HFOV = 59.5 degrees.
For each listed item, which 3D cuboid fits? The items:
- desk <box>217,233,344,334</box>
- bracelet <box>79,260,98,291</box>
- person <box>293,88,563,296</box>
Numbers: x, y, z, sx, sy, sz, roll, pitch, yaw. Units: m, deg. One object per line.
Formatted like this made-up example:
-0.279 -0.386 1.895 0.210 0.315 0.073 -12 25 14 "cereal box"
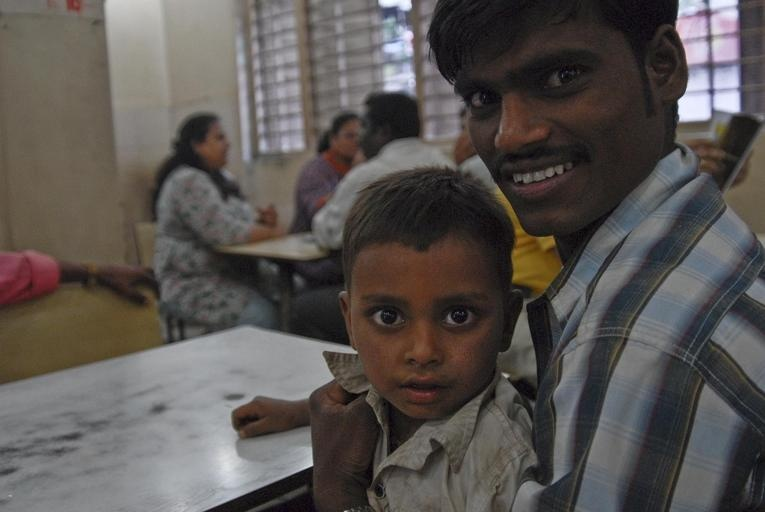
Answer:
-0.339 0.073 2.201 0.319 0.290 0.307 -2 13 -3 "desk"
-0.809 0.051 1.855 0.026 0.056 0.044 -2 -28 5 "bracelet"
0.205 -0.208 2.673 0.832 1.369 0.652 -2 -4 8 "person"
